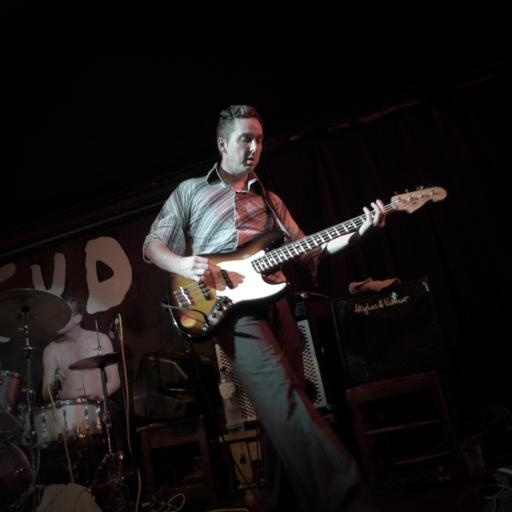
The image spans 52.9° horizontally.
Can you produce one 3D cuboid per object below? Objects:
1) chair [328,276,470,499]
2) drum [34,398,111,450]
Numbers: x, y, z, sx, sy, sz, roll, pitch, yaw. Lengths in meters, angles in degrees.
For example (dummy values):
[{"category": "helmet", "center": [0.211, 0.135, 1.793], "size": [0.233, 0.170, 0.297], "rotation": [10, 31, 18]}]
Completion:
[{"category": "chair", "center": [0.794, 0.631, 2.998], "size": [0.694, 1.146, 0.756], "rotation": [-19, 11, -11]}, {"category": "drum", "center": [-1.153, 1.024, 3.171], "size": [0.296, 0.223, 0.349], "rotation": [-9, -21, -9]}]
